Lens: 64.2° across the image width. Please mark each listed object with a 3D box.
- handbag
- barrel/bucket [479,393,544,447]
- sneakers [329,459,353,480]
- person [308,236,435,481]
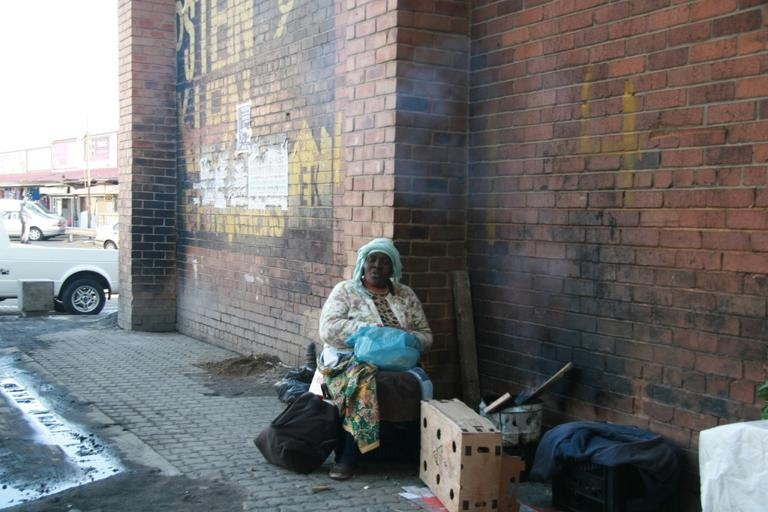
[{"bbox_3d":[-0.754,1.644,5.705,0.690,0.684,0.293,1,4,-5],"label":"handbag"},{"bbox_3d":[1.210,1.595,5.887,0.575,0.332,0.595,2,-9,0],"label":"barrel/bucket"},{"bbox_3d":[-0.389,1.945,5.556,0.216,0.143,0.119,2,4,4],"label":"sneakers"},{"bbox_3d":[-0.058,0.927,5.822,1.167,2.162,0.883,1,4,-11],"label":"person"}]
